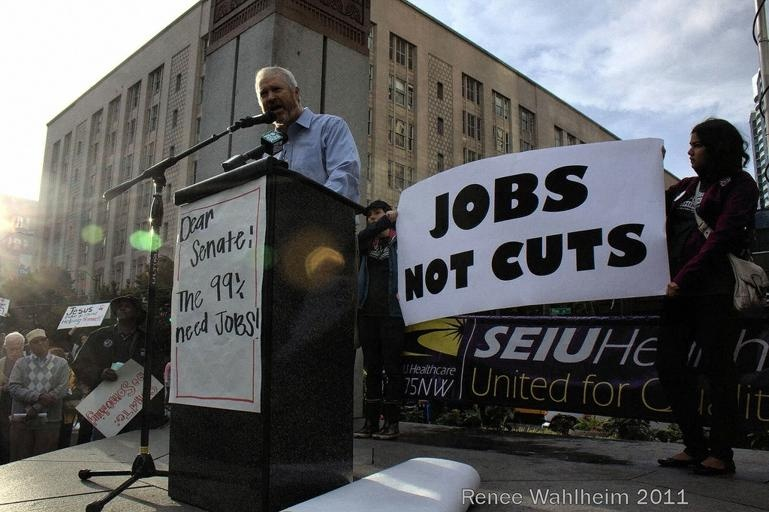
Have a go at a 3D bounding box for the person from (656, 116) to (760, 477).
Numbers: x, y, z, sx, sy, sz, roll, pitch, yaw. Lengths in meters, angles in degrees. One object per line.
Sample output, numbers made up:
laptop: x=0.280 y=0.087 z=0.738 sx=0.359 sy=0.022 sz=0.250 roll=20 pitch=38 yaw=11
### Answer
person: x=2.745 y=0.301 z=5.080 sx=0.908 sy=2.964 sz=0.561 roll=-5 pitch=-12 yaw=23

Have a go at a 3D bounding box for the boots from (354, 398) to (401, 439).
boots: x=-0.020 y=1.843 z=6.642 sx=0.471 sy=0.364 sz=0.399 roll=-11 pitch=-24 yaw=31

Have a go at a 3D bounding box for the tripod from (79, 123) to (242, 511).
tripod: x=-1.818 y=0.340 z=4.741 sx=0.958 sy=2.965 sz=1.330 roll=10 pitch=-15 yaw=-40

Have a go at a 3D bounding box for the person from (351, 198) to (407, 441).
person: x=-0.058 y=0.664 z=6.631 sx=0.512 sy=2.600 sz=0.990 roll=0 pitch=-11 yaw=-1

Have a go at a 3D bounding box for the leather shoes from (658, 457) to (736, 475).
leather shoes: x=2.595 y=1.731 z=4.970 sx=0.575 sy=0.127 sz=0.249 roll=-5 pitch=-12 yaw=23

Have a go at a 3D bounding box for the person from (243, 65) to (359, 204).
person: x=-0.654 y=-1.010 z=5.015 sx=0.892 sy=1.185 sz=0.478 roll=-3 pitch=-12 yaw=14

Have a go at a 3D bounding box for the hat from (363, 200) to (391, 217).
hat: x=-0.087 y=-0.525 z=6.604 sx=0.210 sy=0.146 sz=0.294 roll=-12 pitch=-20 yaw=32

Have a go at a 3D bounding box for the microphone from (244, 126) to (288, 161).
microphone: x=-0.887 y=-0.817 z=4.475 sx=0.254 sy=0.259 sz=0.390 roll=5 pitch=-12 yaw=-25
